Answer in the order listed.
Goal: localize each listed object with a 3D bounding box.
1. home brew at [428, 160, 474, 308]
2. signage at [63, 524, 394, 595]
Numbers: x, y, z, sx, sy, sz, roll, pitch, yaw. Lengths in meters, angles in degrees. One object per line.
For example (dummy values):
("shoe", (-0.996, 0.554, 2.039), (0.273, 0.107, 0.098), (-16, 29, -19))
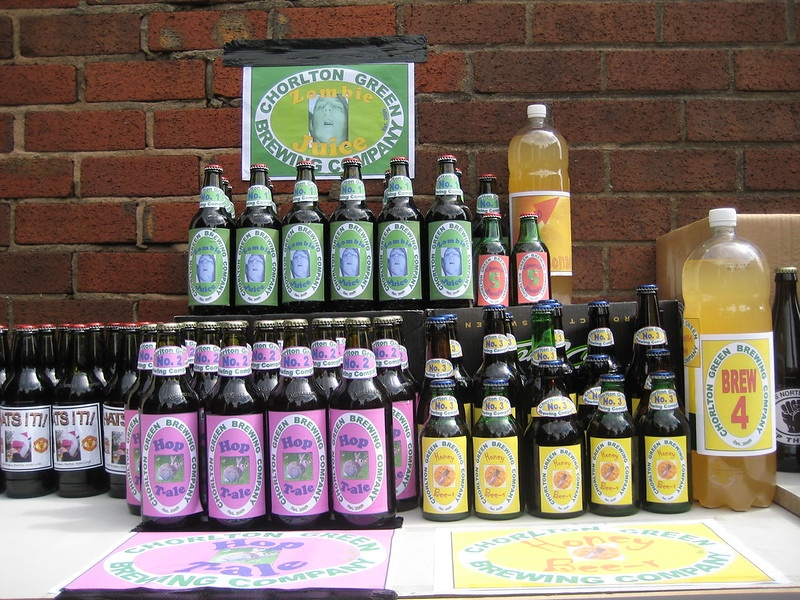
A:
("home brew", (0.119, -0.174, 2.442), (0.115, 0.381, 0.106), (-2, 1, 2))
("signage", (-0.346, 0.543, 2.062), (0.648, 0.068, 0.206), (-1, 1, 2))
